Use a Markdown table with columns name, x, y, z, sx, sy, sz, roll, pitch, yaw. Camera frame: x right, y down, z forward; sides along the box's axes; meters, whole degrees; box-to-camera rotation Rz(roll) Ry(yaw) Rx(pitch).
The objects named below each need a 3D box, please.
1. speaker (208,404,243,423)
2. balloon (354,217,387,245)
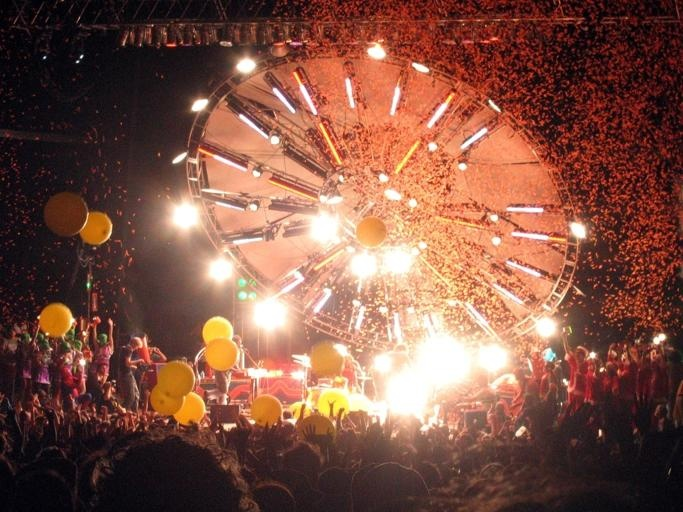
| name | x | y | z | sx | sy | sz | roll | pitch | yaw |
| --- | --- | --- | --- | --- | --- | --- | --- | --- | --- |
| speaker | -1.636 | 2.225 | 9.809 | 0.535 | 0.301 | 0.370 | 2 | -105 | -2 |
| balloon | 0.478 | -0.369 | 11.269 | 0.488 | 0.349 | 0.491 | 39 | -78 | -8 |
